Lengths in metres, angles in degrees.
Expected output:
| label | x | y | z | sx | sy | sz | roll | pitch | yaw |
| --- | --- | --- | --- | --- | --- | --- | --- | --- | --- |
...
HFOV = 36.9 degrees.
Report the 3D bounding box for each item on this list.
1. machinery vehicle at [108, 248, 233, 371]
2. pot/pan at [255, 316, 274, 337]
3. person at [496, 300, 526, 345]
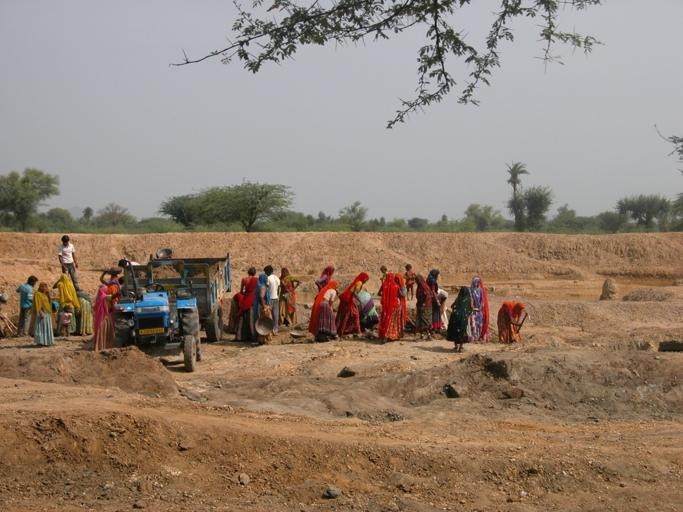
| label | x | y | z | sx | sy | sz | roll | pitch | yaw |
| --- | --- | --- | --- | --- | --- | --- | --- | --- | --- |
| machinery vehicle | -4.060 | 0.879 | 24.358 | 1.913 | 2.195 | 4.749 | -1 | 11 | 2 |
| pot/pan | -1.912 | 1.721 | 24.943 | 0.438 | 0.454 | 0.379 | 0 | -3 | 0 |
| person | 4.002 | 1.598 | 24.364 | 0.548 | 0.998 | 0.936 | -1 | -3 | 10 |
